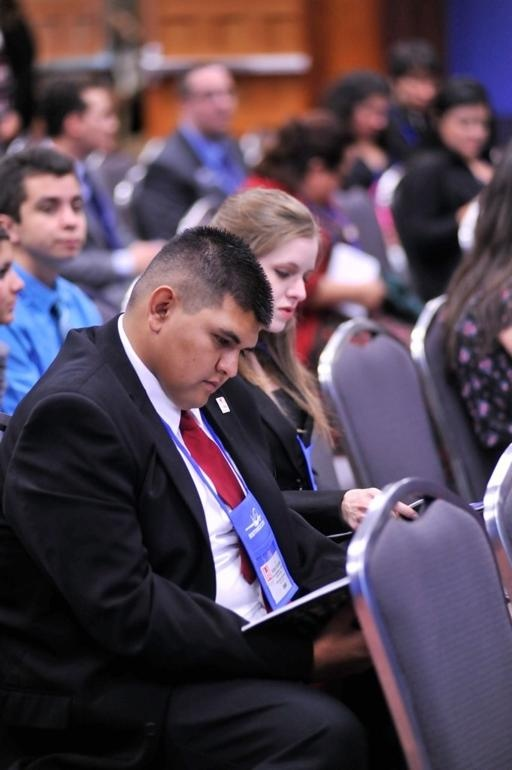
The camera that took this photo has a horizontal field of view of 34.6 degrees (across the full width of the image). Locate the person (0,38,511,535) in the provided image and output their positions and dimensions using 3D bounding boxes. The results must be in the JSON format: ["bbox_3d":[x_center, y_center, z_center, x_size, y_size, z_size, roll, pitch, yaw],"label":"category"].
[{"bbox_3d":[0.052,-0.086,2.057,0.710,1.117,0.553,-14,4,1],"label":"person"}]

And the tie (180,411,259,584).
[{"bbox_3d":[-0.085,0.154,1.433,0.025,0.077,0.410,-47,43,22],"label":"tie"}]
